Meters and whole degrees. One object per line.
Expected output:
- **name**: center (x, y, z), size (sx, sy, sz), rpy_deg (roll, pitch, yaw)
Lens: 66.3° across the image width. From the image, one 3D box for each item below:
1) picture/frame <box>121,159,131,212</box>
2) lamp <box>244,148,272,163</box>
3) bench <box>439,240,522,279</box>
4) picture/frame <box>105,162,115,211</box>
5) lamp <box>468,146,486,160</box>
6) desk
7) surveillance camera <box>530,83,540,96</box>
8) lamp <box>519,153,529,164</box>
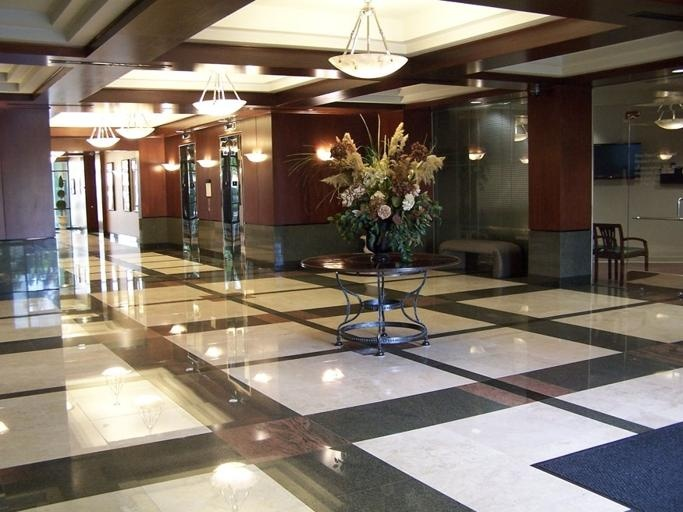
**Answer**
- **picture/frame**: center (-8.646, -2.833, 21.044), size (0.397, 2.083, 1.787), rpy_deg (-6, 6, -22)
- **lamp**: center (-2.150, -2.585, 13.631), size (0.615, 0.137, 0.491), rpy_deg (-1, 5, -17)
- **bench**: center (3.000, 0.103, 12.093), size (1.903, 0.526, 0.776), rpy_deg (9, -6, 41)
- **picture/frame**: center (-10.140, -3.041, 23.037), size (0.392, 2.167, 1.460), rpy_deg (-6, 7, -26)
- **lamp**: center (3.289, -2.487, 12.762), size (0.456, 0.228, 0.381), rpy_deg (0, 6, 16)
- **desk**: center (0.584, 0.664, 7.227), size (2.191, 0.802, 1.673), rpy_deg (-1, 2, -1)
- **surveillance camera**: center (3.744, -3.218, 10.168), size (0.245, 0.153, 0.215), rpy_deg (-1, 5, -28)
- **lamp**: center (4.033, -2.149, 11.576), size (0.302, 0.182, 0.327), rpy_deg (0, -3, 12)
